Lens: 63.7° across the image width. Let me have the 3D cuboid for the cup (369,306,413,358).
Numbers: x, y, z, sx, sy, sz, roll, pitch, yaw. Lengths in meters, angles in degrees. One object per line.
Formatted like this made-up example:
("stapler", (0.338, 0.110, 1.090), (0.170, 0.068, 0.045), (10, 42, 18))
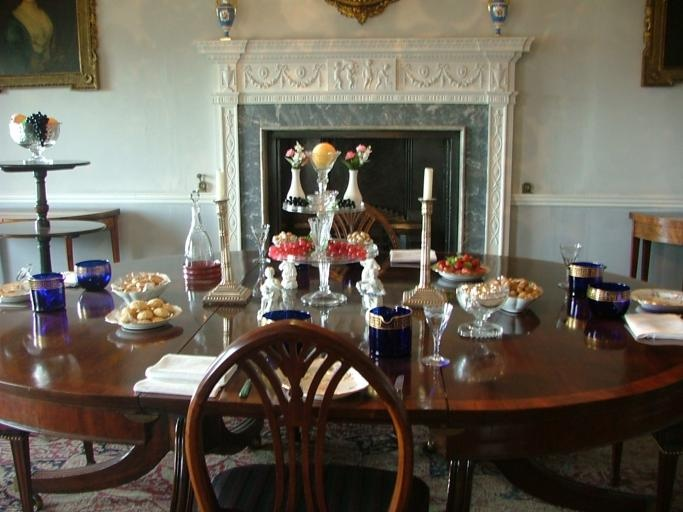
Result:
("cup", (0.146, 0.227, 1.644), (0.123, 0.132, 0.138), (2, 7, 18))

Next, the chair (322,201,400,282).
("chair", (0.110, -0.133, 3.422), (0.460, 0.713, 0.481), (0, 8, 4))

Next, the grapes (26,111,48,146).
("grapes", (-1.374, -0.575, 2.483), (0.077, 0.142, 0.102), (3, 6, 28))

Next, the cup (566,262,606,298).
("cup", (0.947, 0.086, 2.101), (0.136, 0.120, 0.113), (1, 11, 23))

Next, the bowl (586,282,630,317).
("bowl", (0.920, 0.151, 1.891), (0.127, 0.100, 0.123), (-2, 8, 0))

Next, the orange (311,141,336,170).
("orange", (-0.067, -0.446, 2.353), (0.098, 0.133, 0.106), (4, -14, 2))

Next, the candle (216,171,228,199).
("candle", (-0.447, -0.263, 2.039), (0.038, 0.116, 0.182), (-1, 5, -14))

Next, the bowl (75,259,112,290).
("bowl", (-0.992, 0.064, 2.200), (0.114, 0.100, 0.112), (-1, 7, 0))

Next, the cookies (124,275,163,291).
("cookies", (-0.728, 0.093, 2.000), (0.076, 0.031, 0.081), (-4, 14, -12))
